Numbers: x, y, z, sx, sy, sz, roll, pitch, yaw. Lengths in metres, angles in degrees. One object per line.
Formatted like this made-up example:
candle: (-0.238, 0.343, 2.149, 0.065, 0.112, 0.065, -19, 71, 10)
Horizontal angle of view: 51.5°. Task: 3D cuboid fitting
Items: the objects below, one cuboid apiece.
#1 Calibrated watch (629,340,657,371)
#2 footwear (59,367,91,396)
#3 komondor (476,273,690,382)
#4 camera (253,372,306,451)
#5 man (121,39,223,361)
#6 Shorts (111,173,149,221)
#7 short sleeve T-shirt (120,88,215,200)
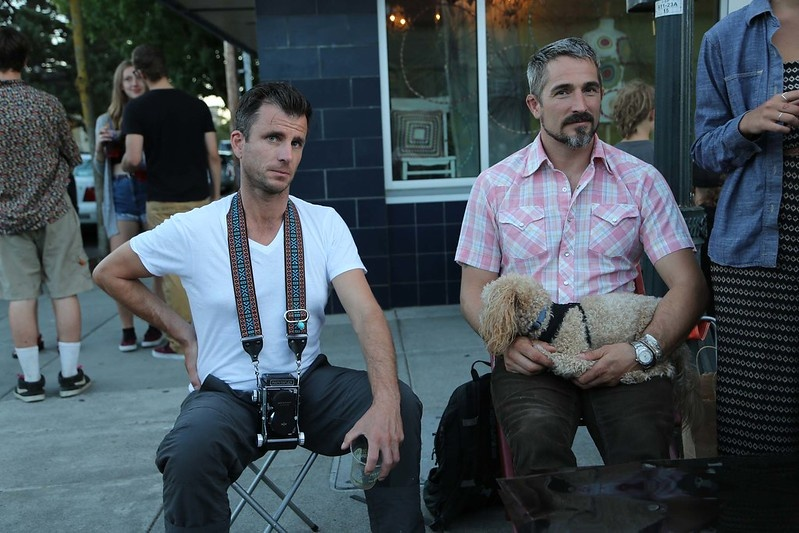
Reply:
Calibrated watch: (1.228, 0.431, 4.240, 0.096, 0.153, 0.141, -31, 10, -1)
footwear: (-2.475, 0.875, 6.341, 0.112, 0.152, 0.333, 0, 4, 9)
komondor: (0.901, 0.304, 4.253, 1.075, 0.568, 0.463, -1, -5, 0)
camera: (-0.663, 0.735, 4.140, 0.297, 0.353, 0.260, 8, -9, -36)
man: (-1.969, -0.560, 7.147, 0.791, 2.657, 0.663, -5, 10, -29)
Shorts: (-2.325, -0.610, 7.058, 0.343, 0.451, 0.246, -8, 5, -35)
short sleeve T-shirt: (-1.935, -1.044, 6.962, 0.796, 0.988, 0.372, -11, 25, -34)
